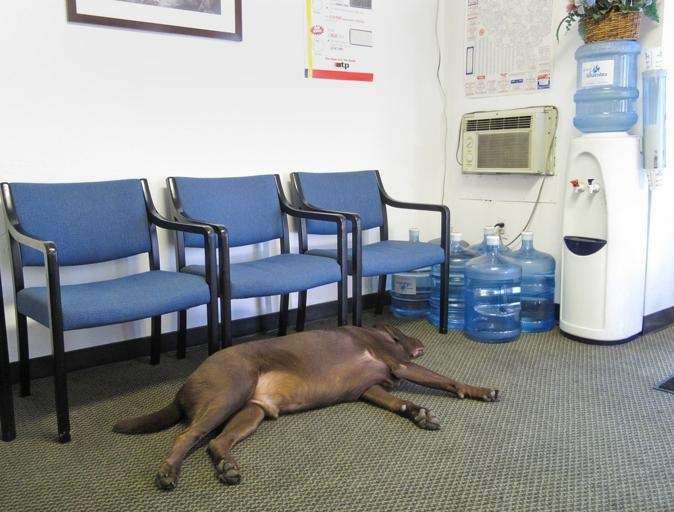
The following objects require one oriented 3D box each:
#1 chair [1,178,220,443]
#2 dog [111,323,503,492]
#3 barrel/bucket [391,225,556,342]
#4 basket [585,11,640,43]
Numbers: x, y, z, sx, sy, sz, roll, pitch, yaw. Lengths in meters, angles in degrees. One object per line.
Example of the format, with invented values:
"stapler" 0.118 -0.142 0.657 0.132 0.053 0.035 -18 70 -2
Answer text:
"chair" -1.033 0.238 2.327 0.892 1.283 0.840 -6 10 -40
"dog" -0.120 0.616 2.071 1.013 0.215 0.412 -4 9 -26
"barrel/bucket" 0.841 0.193 3.115 0.467 0.780 0.867 -1 0 30
"basket" 1.460 -1.193 2.779 0.195 0.091 0.157 -3 12 5
